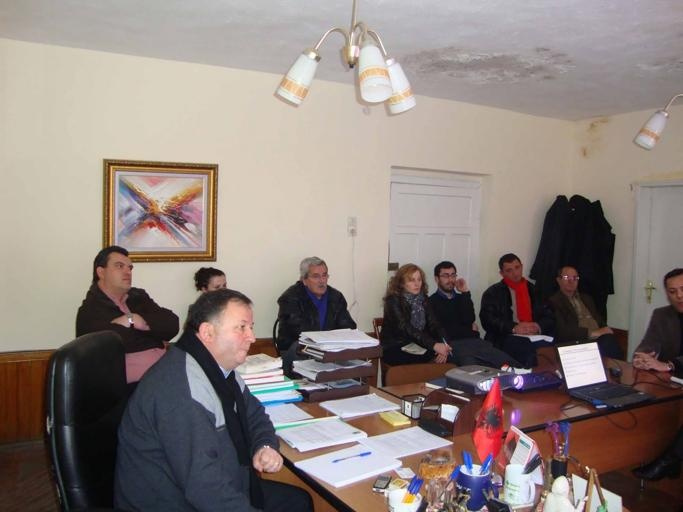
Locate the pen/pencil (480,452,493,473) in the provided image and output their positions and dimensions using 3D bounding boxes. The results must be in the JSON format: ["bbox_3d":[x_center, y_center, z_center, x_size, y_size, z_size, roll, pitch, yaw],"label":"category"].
[{"bbox_3d":[0.571,0.814,2.085,0.023,0.110,0.029,25,-19,12],"label":"pen/pencil"}]

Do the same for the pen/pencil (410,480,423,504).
[{"bbox_3d":[0.286,0.882,2.008,0.027,0.027,0.103,11,46,33],"label":"pen/pencil"}]

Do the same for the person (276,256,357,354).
[{"bbox_3d":[-0.256,0.403,4.509,0.638,0.883,0.839,-1,2,-26],"label":"person"}]

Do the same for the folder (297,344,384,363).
[{"bbox_3d":[0.016,0.551,2.989,0.190,0.046,0.199,-2,6,-24],"label":"folder"}]

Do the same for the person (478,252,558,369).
[{"bbox_3d":[1.823,0.667,5.349,0.710,1.360,0.893,-3,5,-4],"label":"person"}]

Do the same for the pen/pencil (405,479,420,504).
[{"bbox_3d":[0.268,0.879,1.986,0.030,0.029,0.113,2,29,25],"label":"pen/pencil"}]

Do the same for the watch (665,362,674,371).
[{"bbox_3d":[2.206,0.738,3.552,0.048,0.011,0.049,9,15,44],"label":"watch"}]

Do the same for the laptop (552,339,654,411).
[{"bbox_3d":[1.537,0.640,3.056,0.393,0.243,0.386,0,-1,-27],"label":"laptop"}]

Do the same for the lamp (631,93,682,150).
[{"bbox_3d":[2.096,-0.880,3.577,0.188,0.279,0.247,0,1,29],"label":"lamp"}]

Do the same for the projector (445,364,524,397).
[{"bbox_3d":[0.775,0.667,2.916,0.249,0.070,0.246,-1,3,-30],"label":"projector"}]

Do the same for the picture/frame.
[{"bbox_3d":[-1.561,-0.394,4.398,0.897,0.829,0.086,0,2,-26],"label":"picture/frame"}]

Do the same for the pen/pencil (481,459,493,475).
[{"bbox_3d":[0.556,0.813,2.033,0.083,0.021,0.020,-46,-8,-47],"label":"pen/pencil"}]

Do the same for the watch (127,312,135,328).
[{"bbox_3d":[-1.461,0.437,3.647,0.056,0.084,0.081,-5,-21,-39],"label":"watch"}]
